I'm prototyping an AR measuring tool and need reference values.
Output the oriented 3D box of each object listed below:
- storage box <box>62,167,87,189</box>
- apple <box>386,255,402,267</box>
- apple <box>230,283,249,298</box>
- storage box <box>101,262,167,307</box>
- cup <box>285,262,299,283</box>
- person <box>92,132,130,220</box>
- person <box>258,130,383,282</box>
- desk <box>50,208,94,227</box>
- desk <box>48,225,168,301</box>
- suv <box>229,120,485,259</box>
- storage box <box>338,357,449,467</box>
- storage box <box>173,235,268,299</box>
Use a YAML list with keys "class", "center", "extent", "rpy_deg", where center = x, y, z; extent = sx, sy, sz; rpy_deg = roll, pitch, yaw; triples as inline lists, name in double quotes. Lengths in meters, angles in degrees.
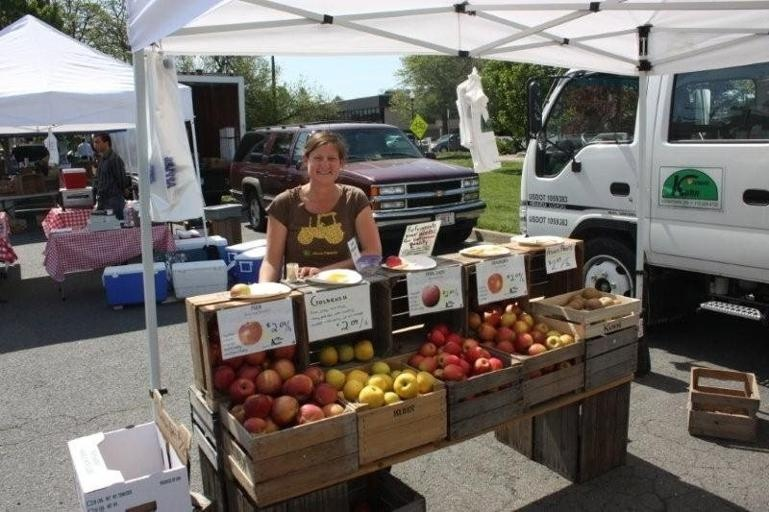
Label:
- class: "storage box"
  center: [-6.451, -1.777, 11.466]
  extent: [0.372, 0.497, 0.704]
  rpy_deg: [-6, 13, -26]
- class: "apple"
  center: [0.068, 0.054, 4.340]
  extent: [0.088, 0.050, 0.093]
  rpy_deg: [-3, 15, -2]
- class: "apple"
  center: [-1.008, 0.239, 3.844]
  extent: [0.095, 0.063, 0.100]
  rpy_deg: [-4, 4, -17]
- class: "storage box"
  center: [-4.031, 0.472, 8.969]
  extent: [0.906, 0.720, 0.576]
  rpy_deg: [-10, 15, -26]
- class: "cup"
  center: [-0.696, 0.134, 4.187]
  extent: [0.116, 0.156, 0.119]
  rpy_deg: [1, 3, 0]
- class: "person"
  center: [-5.318, -1.523, 10.626]
  extent: [0.601, 1.627, 0.587]
  rpy_deg: [-8, 14, -20]
- class: "person"
  center: [-0.544, -0.304, 4.695]
  extent: [0.945, 1.462, 0.843]
  rpy_deg: [1, 30, -4]
- class: "desk"
  center: [-6.119, -0.762, 10.726]
  extent: [0.742, 0.309, 0.366]
  rpy_deg: [-8, 15, -18]
- class: "desk"
  center: [-5.096, 0.332, 9.882]
  extent: [1.757, 0.746, 1.784]
  rpy_deg: [-8, 10, -30]
- class: "suv"
  center: [-0.832, -1.884, 12.437]
  extent: [2.968, 2.395, 5.395]
  rpy_deg: [-10, 14, -39]
- class: "storage box"
  center: [0.106, 1.078, 3.810]
  extent: [0.542, 0.347, 0.549]
  rpy_deg: [-12, 18, -29]
- class: "storage box"
  center: [-2.792, 0.234, 9.378]
  extent: [1.441, 0.504, 1.479]
  rpy_deg: [-9, 15, -28]
